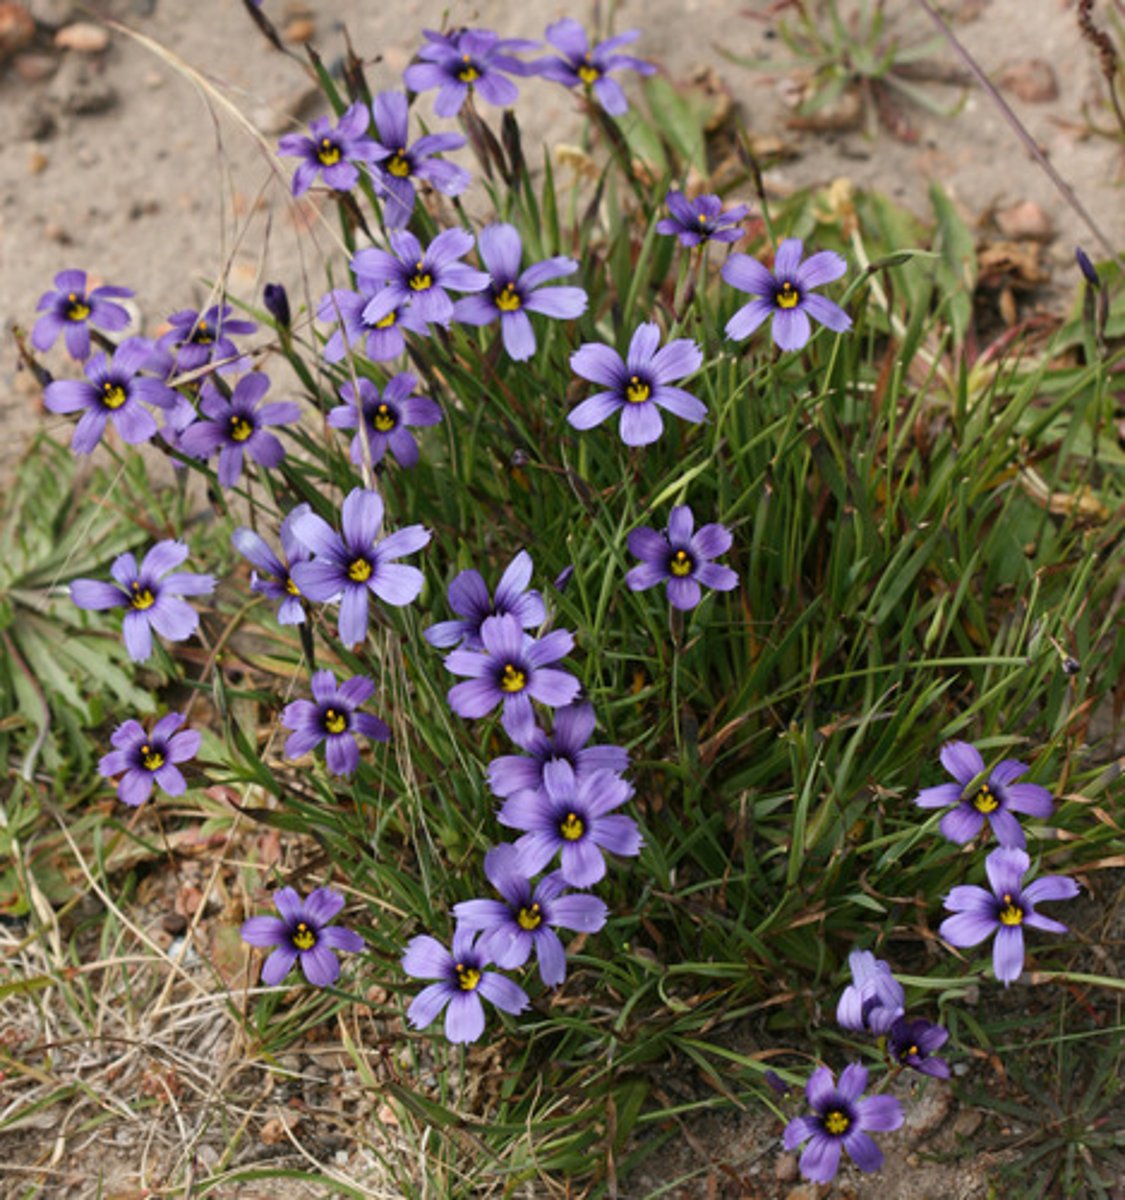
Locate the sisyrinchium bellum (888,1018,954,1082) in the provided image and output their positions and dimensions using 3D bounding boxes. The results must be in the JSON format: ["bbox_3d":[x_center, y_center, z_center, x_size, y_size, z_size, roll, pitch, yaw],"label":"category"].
[{"bbox_3d":[0.698,0.905,2.551,0.119,0.073,0.143,-6,63,-1],"label":"sisyrinchium bellum"}]

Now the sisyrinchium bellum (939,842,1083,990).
[{"bbox_3d":[0.893,0.638,2.631,0.271,0.096,0.299,0,55,16],"label":"sisyrinchium bellum"}]
